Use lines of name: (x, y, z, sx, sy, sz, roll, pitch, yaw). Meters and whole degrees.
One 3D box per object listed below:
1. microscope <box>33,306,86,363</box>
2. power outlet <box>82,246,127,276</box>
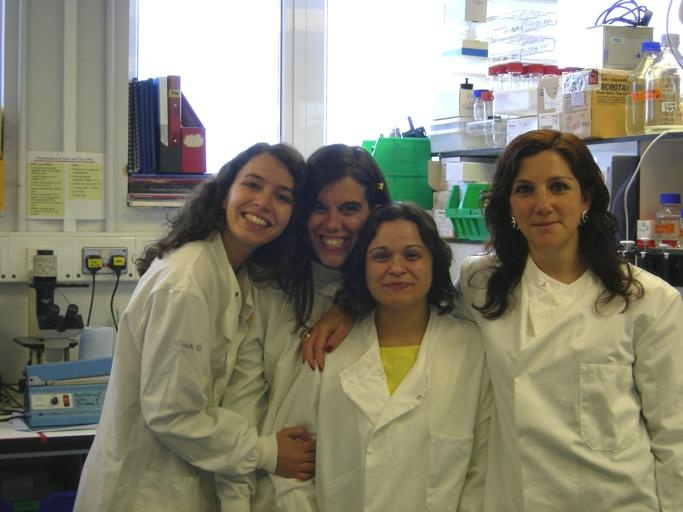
microscope: (-1.211, 0.302, 2.999, 0.181, 0.260, 0.192, -4, 12, -35)
power outlet: (-1.158, 0.020, 3.401, 0.233, 0.153, 0.121, 1, 3, -15)
